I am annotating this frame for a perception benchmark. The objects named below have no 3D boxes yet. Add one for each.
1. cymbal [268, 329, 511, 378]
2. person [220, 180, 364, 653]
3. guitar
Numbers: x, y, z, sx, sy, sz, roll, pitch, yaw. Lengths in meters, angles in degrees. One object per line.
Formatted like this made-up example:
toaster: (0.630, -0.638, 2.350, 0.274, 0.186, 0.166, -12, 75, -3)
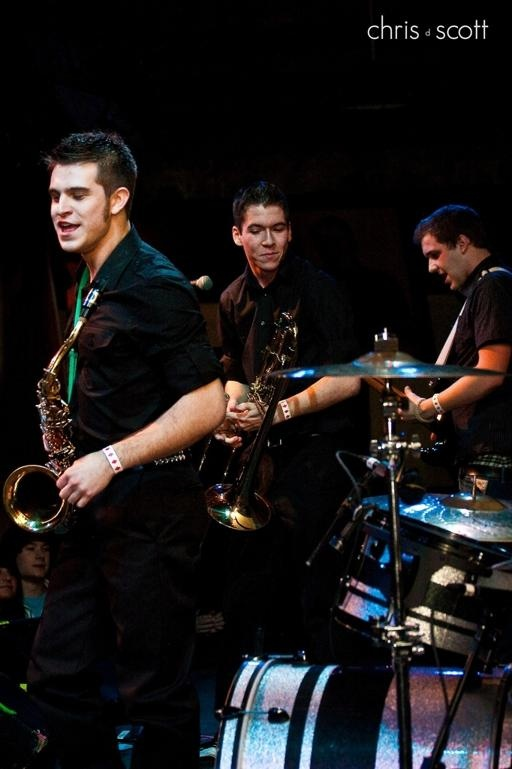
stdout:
cymbal: (0.325, -0.055, 1.776, 0.512, 0.105, 0.165, -3, 15, 15)
person: (0.071, 0.294, 3.261, 0.736, 2.224, 0.818, -4, 7, -27)
guitar: (0.558, 0.045, 3.003, 0.413, 0.266, 0.364, -4, 11, -32)
